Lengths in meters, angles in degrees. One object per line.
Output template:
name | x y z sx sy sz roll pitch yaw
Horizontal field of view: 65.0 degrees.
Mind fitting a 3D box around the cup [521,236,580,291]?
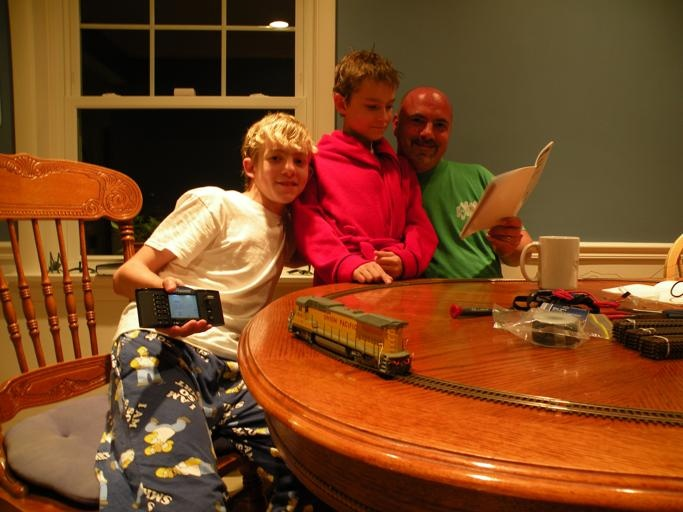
cup | 0.554 0.018 1.521 0.175 0.167 0.114 -2 7 5

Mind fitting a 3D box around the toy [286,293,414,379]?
toy | 0.014 0.137 1.016 0.264 0.102 0.087 16 19 43
